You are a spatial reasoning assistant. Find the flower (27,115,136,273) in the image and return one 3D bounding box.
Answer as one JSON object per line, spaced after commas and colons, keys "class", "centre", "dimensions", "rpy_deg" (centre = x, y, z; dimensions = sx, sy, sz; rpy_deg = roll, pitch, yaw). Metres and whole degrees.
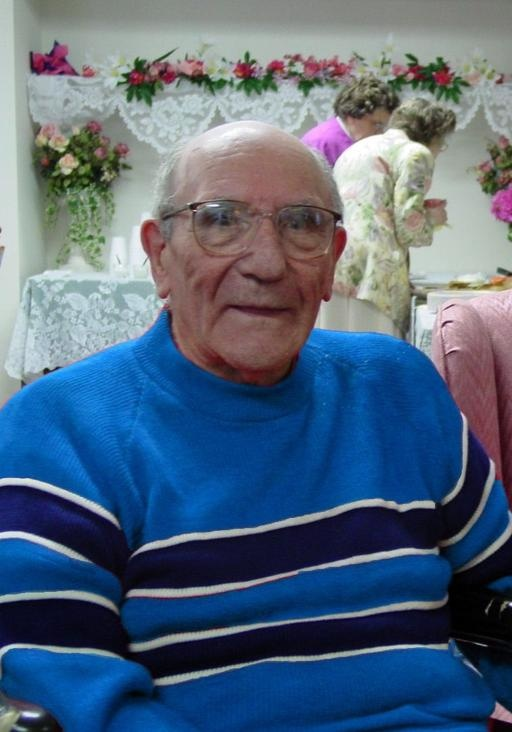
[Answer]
{"class": "flower", "centre": [-1.106, -1.156, 4.863], "dimensions": [0.630, 0.607, 0.560], "rpy_deg": [1, 26, -4]}
